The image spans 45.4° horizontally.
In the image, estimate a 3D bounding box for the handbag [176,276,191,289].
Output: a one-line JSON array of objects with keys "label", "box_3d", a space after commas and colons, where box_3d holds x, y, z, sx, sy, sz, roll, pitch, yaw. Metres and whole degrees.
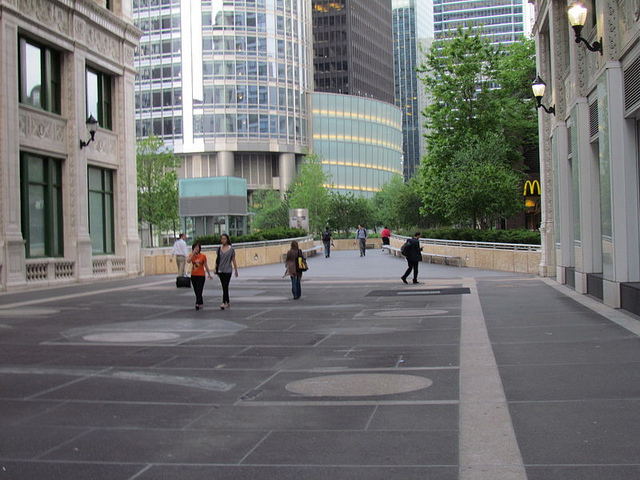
[{"label": "handbag", "box_3d": [-4.426, 1.379, 24.749, 0.510, 0.454, 0.421, 0, 9, -2]}]

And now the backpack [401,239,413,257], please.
[{"label": "backpack", "box_3d": [2.990, 0.307, 26.326, 0.388, 0.878, 0.628, 3, 0, 8]}]

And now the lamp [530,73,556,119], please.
[{"label": "lamp", "box_3d": [7.151, -4.639, 24.564, 0.765, 1.384, 0.487, 5, -14, -2]}]

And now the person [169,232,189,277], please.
[{"label": "person", "box_3d": [-5.113, 0.549, 27.838, 0.526, 1.598, 1.782, -2, 5, -11]}]

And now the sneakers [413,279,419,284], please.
[{"label": "sneakers", "box_3d": [3.299, 1.426, 26.315, 0.189, 0.221, 0.088, -8, 9, -29]}]

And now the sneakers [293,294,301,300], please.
[{"label": "sneakers", "box_3d": [-0.657, 1.677, 22.145, 0.233, 0.205, 0.086, 4, -4, -14]}]

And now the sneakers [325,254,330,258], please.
[{"label": "sneakers", "box_3d": [0.430, 1.016, 46.511, 0.179, 0.363, 0.201, -1, 6, 9]}]
